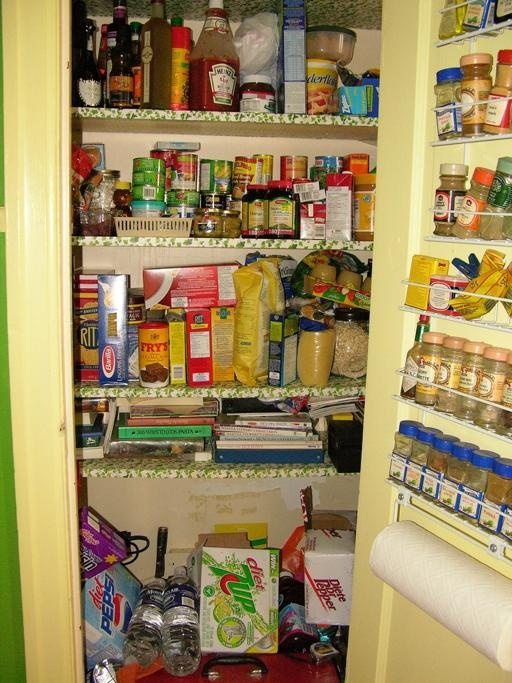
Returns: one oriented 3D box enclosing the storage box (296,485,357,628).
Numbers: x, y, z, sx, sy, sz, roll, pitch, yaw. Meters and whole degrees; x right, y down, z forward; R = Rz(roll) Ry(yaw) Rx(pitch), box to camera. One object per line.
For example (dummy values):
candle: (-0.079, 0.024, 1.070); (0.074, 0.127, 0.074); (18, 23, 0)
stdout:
storage box: (0.226, 0.661, 1.751); (0.132, 0.347, 0.357); (-2, -3, 9)

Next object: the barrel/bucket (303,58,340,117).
barrel/bucket: (0.165, -0.728, 1.576); (0.122, 0.132, 0.121); (-4, 17, 1)

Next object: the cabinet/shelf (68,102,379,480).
cabinet/shelf: (-0.093, -0.123, 1.537); (1.122, 0.983, 0.367); (0, 3, -8)

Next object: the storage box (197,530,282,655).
storage box: (-0.054, 0.783, 1.658); (0.340, 0.378, 0.133); (0, -7, -3)

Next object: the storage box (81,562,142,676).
storage box: (-0.438, 0.845, 1.633); (0.103, 0.299, 0.260); (-10, -22, 23)

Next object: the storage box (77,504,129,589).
storage box: (-0.490, 0.598, 1.739); (0.133, 0.253, 0.331); (-4, 14, -15)

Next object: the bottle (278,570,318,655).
bottle: (0.120, 0.822, 1.737); (0.137, 0.201, 0.254); (-8, 33, 1)

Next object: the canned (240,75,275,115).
canned: (0.004, -0.668, 1.475); (0.094, 0.107, 0.084); (0, 14, -1)

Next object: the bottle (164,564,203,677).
bottle: (-0.230, 0.876, 1.668); (0.113, 0.174, 0.205); (-2, 14, -9)
